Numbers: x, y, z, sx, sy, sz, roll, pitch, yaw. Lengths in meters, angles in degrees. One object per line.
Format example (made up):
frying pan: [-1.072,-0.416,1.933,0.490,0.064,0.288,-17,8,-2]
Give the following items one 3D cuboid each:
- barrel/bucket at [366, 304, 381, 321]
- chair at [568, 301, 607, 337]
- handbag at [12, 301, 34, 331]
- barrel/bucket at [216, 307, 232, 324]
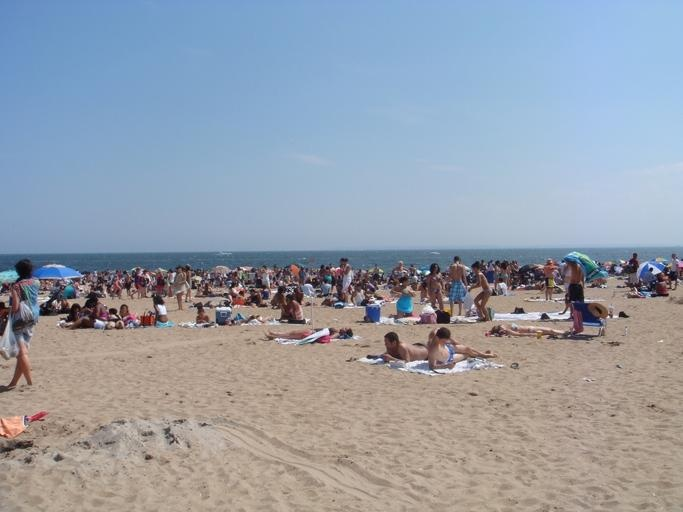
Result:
barrel/bucket: [0.825,1.436,15.256,0.448,0.415,0.475,1,-5,0]
chair: [5.253,1.318,12.818,0.661,0.681,0.632,2,9,17]
handbag: [-4.528,0.840,8.572,0.308,0.410,0.093,-8,12,-40]
barrel/bucket: [-2.976,1.494,15.166,0.474,0.376,0.425,0,0,-6]
